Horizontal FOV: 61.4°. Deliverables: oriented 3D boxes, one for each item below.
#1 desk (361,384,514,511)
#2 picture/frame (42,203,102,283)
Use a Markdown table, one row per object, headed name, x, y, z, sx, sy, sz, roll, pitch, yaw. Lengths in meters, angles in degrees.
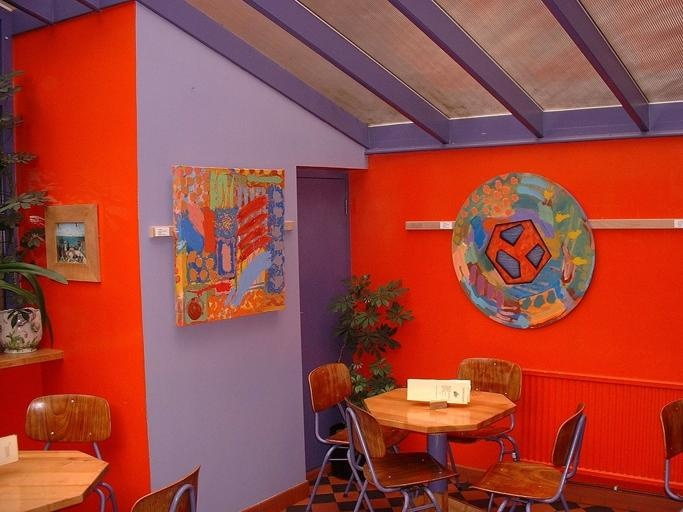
| name | x | y | z | sx | sy | sz | roll | pitch | yaw |
| --- | --- | --- | --- | --- | --- | --- | --- | --- | --- |
| desk | 0.733 | 1.160 | 4.255 | 0.947 | 0.913 | 0.934 | -3 | 5 | -34 |
| picture/frame | -1.969 | -0.101 | 4.244 | 0.557 | 0.578 | 0.023 | 4 | 6 | 29 |
